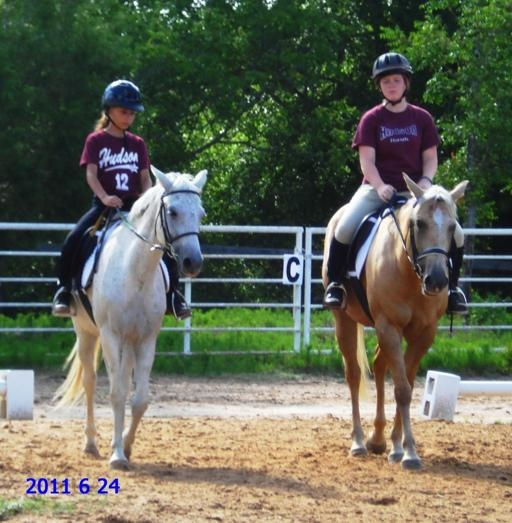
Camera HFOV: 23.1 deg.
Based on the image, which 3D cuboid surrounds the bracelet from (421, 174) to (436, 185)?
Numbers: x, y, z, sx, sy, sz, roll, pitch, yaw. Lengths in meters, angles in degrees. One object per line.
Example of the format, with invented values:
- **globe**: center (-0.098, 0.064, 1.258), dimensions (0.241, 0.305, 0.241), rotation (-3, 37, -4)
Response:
- **bracelet**: center (1.915, -0.946, 14.119), dimensions (0.104, 0.046, 0.099), rotation (28, -5, 30)

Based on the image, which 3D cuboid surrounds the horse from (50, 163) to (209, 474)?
- **horse**: center (-1.300, 0.635, 13.911), dimensions (0.771, 3.297, 2.111), rotation (3, -3, -38)

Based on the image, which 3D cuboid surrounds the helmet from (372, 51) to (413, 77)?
- **helmet**: center (1.563, -2.277, 14.462), dimensions (0.428, 0.318, 0.263), rotation (1, -2, 6)

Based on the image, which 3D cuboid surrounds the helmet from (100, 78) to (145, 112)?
- **helmet**: center (-1.594, -1.935, 14.586), dimensions (0.317, 0.412, 0.439), rotation (1, -8, -21)

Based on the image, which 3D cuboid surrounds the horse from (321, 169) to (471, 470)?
- **horse**: center (1.536, 0.639, 14.127), dimensions (0.695, 3.296, 1.892), rotation (2, -3, -29)
